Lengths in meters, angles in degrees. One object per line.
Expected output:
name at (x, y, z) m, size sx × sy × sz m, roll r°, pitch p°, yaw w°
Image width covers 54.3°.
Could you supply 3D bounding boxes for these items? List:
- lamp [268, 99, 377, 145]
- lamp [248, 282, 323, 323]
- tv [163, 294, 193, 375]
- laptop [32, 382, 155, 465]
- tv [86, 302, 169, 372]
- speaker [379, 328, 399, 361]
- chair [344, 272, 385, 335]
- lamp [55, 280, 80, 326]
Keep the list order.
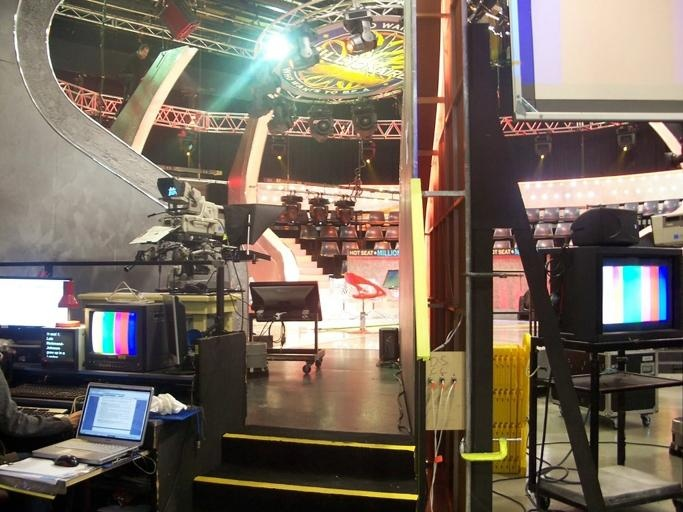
lamp at (-0.422, -2.635, 12.453) m, size 1.370 × 0.745 × 1.358 m, roll 12°, pitch 25°, yaw 27°
lamp at (-0.713, 0.581, 8.257) m, size 0.833 × 0.617 × 0.480 m, roll 1°, pitch 6°, yaw -2°
tv at (-1.317, 0.596, 5.334) m, size 0.199 × 0.565 × 0.290 m, roll 0°, pitch -5°, yaw -14°
laptop at (-1.686, 1.208, 4.792) m, size 0.579 × 0.401 × 0.575 m, roll -1°, pitch 0°, yaw 26°
tv at (-1.763, 0.654, 5.516) m, size 0.577 × 0.539 × 0.450 m, roll 0°, pitch 1°, yaw 11°
speaker at (0.595, 1.060, 8.449) m, size 0.244 × 0.445 × 0.243 m, roll 0°, pitch 27°, yaw 3°
chair at (0.425, 0.832, 12.106) m, size 0.771 × 1.177 × 0.708 m, roll -2°, pitch 7°, yaw -9°
lamp at (-2.306, 0.395, 5.641) m, size 0.211 × 0.369 × 0.223 m, roll 4°, pitch 5°, yaw 23°
